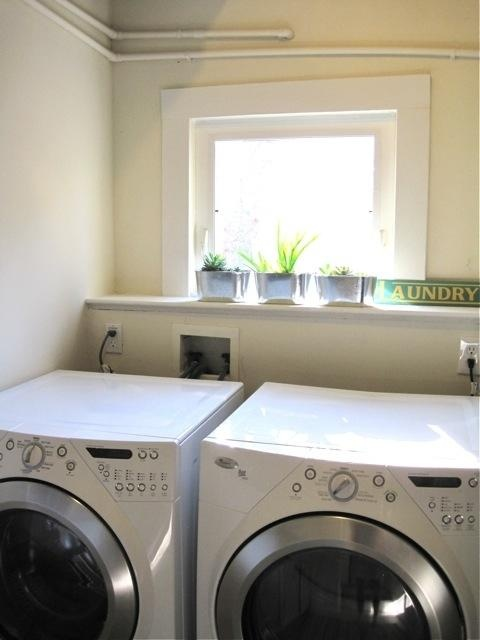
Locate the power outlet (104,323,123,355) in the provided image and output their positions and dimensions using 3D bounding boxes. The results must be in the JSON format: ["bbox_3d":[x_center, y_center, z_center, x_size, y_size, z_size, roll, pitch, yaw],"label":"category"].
[{"bbox_3d":[-0.452,0.063,1.911,0.076,0.174,0.015,4,9,16],"label":"power outlet"}]

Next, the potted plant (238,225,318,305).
[{"bbox_3d":[0.119,-0.139,1.849,0.203,0.265,0.224,1,-21,-8],"label":"potted plant"}]

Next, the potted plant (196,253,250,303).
[{"bbox_3d":[-0.064,-0.137,1.816,0.153,0.171,0.137,0,-1,2],"label":"potted plant"}]
